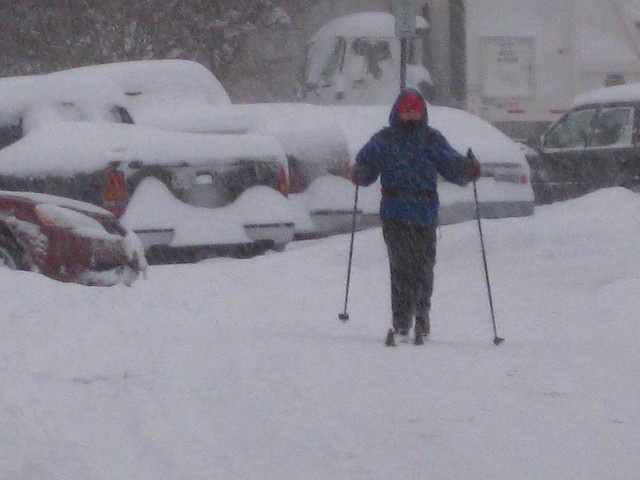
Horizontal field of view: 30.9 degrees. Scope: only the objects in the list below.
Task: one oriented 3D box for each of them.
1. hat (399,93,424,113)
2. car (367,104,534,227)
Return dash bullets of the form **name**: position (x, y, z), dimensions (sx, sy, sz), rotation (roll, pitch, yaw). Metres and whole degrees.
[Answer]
- **hat**: position (0.767, -1.228, 10.041), dimensions (0.217, 0.137, 0.208), rotation (5, 67, 14)
- **car**: position (1.706, -0.827, 12.713), dimensions (1.042, 1.846, 0.898), rotation (-4, 98, -19)
